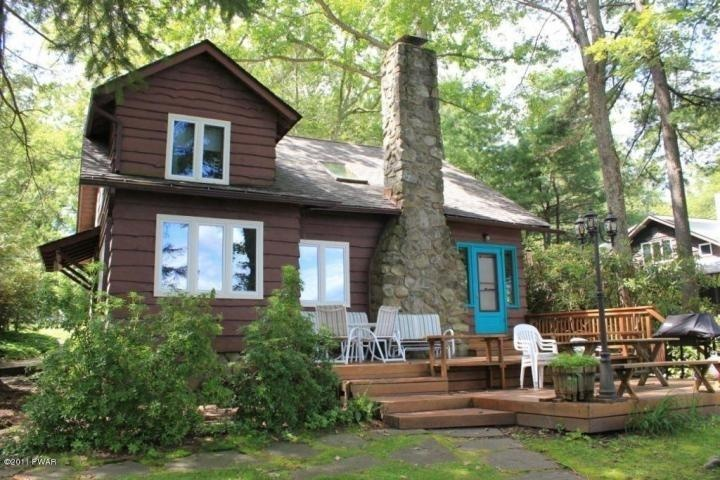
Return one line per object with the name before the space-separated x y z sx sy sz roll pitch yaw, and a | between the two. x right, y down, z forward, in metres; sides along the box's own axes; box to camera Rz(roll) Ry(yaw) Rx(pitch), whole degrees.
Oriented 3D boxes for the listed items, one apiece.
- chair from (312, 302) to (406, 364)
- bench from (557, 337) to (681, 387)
chair | -0.171 2.340 14.127 1.320 1.447 2.190 4 -8 -30
bench | 5.642 2.668 12.341 1.773 0.616 0.574 -1 -4 3
